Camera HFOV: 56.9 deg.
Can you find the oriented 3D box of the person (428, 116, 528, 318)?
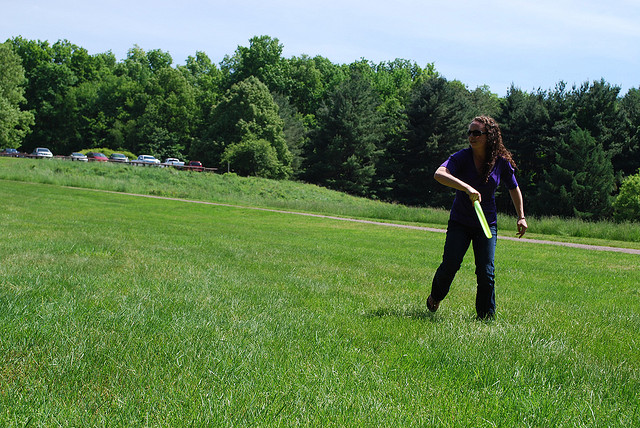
[{"bbox_3d":[2.183,0.047,8.128,1.153,2.753,1.191,6,9,18],"label":"person"}]

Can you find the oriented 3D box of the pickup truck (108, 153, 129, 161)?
[{"bbox_3d":[-22.750,-6.355,66.381,2.384,1.221,1.442,-1,6,2],"label":"pickup truck"}]

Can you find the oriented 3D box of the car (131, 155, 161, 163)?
[{"bbox_3d":[-19.040,-6.037,65.467,2.841,0.989,1.637,-1,-1,38],"label":"car"}]
